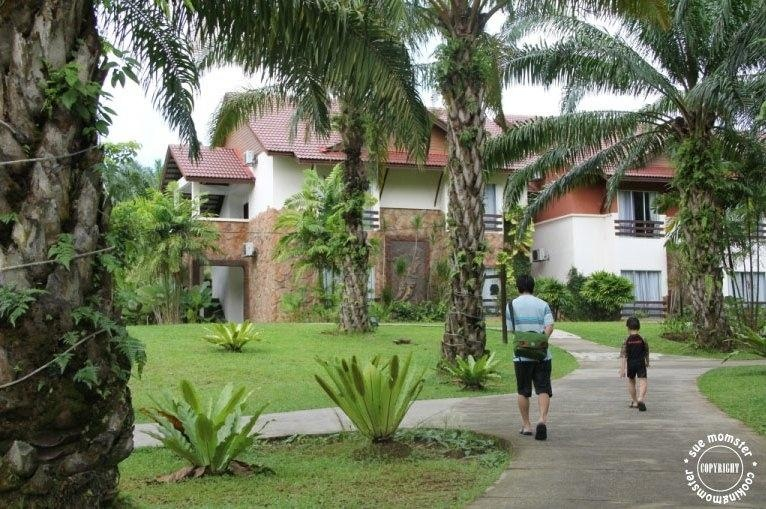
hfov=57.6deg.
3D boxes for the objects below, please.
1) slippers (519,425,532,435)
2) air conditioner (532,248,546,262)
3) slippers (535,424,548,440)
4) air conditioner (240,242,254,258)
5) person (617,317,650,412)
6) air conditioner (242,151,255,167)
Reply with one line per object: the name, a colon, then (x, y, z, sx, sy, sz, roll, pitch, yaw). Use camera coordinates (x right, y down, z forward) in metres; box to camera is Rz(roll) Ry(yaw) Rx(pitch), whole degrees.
slippers: (1.836, 2.264, 8.977, 0.173, 0.097, 0.211, -1, 1, 9)
air conditioner: (7.215, 0.037, 32.309, 0.425, 0.642, 0.862, 4, -10, -4)
slippers: (1.972, 2.210, 8.698, 0.094, 0.235, 0.095, -1, 7, 9)
air conditioner: (-5.354, -0.156, 27.454, 0.460, 0.689, 0.674, 11, -18, -35)
person: (3.925, 1.687, 10.908, 0.382, 1.338, 1.261, 0, 2, 19)
air conditioner: (-5.584, -3.974, 29.033, 0.458, 0.909, 0.484, -2, -24, 4)
